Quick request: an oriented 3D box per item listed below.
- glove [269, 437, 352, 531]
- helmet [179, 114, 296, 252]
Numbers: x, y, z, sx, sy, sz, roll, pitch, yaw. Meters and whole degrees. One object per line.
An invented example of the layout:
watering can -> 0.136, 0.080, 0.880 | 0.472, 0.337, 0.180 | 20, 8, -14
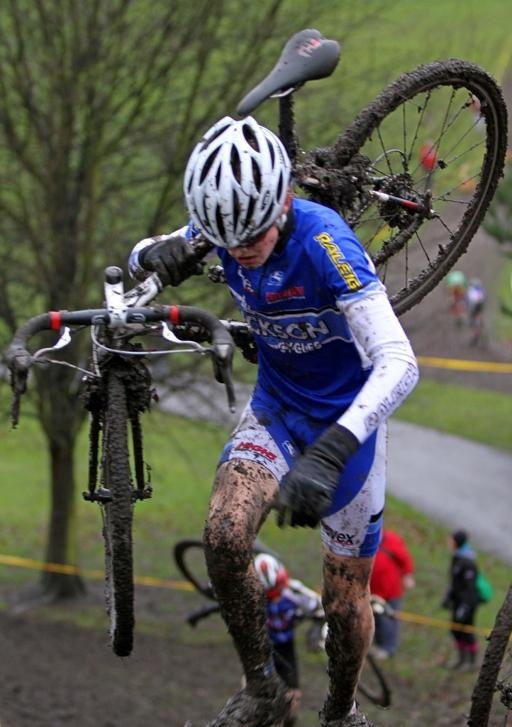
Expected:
glove -> 0.192, 0.344, 2.676 | 0.135, 0.108, 0.410 | 17, 33, 19
helmet -> -0.006, -0.617, 3.129 | 0.409, 0.355, 0.462 | 5, 50, 11
